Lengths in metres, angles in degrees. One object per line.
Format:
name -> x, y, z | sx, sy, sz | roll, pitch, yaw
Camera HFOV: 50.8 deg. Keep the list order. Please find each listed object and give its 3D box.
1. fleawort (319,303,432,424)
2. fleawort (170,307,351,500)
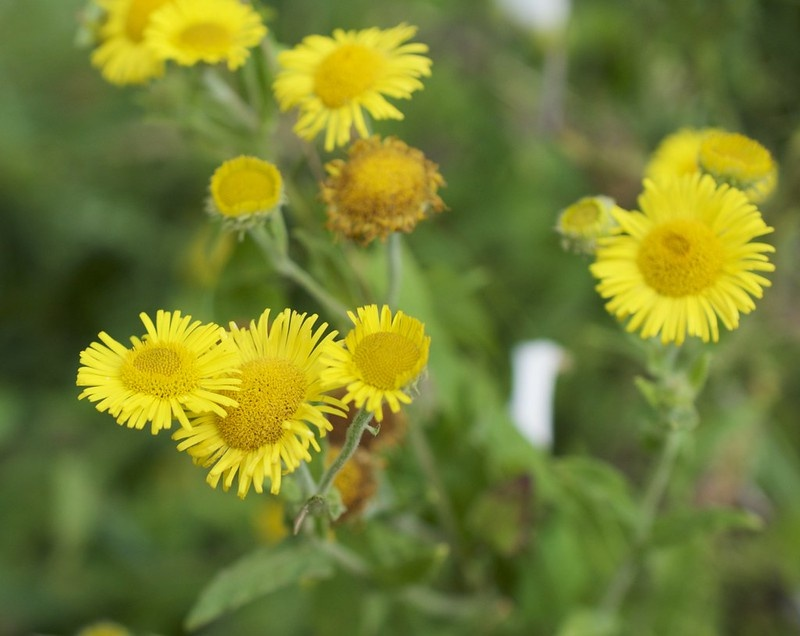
fleawort -> -0.012, 0.043, 0.774 | 0.118, 0.049, 0.133 | 4, 39, 12
fleawort -> -0.135, 0.080, 0.811 | 0.177, 0.066, 0.180 | -20, 42, 5
